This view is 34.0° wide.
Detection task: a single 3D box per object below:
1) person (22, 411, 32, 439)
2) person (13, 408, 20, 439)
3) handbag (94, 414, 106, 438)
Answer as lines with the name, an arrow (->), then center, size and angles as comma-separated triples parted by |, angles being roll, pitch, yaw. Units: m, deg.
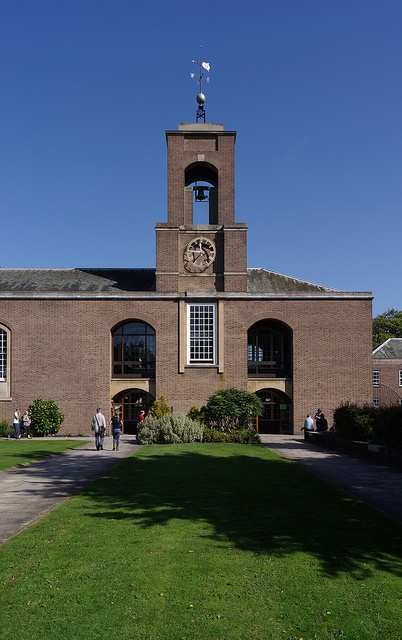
person -> -8.413, 5.115, 31.700 | 0.394, 1.218, 1.484 | 2, -5, -15
person -> -8.740, 5.009, 31.103 | 0.319, 1.290, 1.911 | 2, -5, -15
handbag -> -3.579, 3.719, 23.170 | 0.358, 0.682, 0.456 | 2, -5, -10
